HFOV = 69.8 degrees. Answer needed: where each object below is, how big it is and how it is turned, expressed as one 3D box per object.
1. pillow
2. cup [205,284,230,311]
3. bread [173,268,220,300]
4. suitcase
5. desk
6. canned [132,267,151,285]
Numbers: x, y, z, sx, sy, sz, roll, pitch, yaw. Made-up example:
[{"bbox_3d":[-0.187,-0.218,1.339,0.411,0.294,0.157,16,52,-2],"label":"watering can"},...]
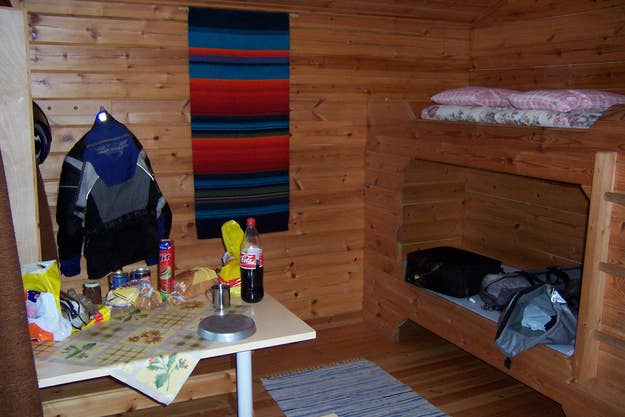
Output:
[{"bbox_3d":[1.312,-0.697,2.862,0.457,0.214,1.007,-9,12,-33],"label":"pillow"},{"bbox_3d":[-0.468,0.393,1.999,0.169,0.093,0.089,-4,10,-19],"label":"cup"},{"bbox_3d":[-0.545,0.354,2.127,0.196,0.050,0.129,-18,39,-33],"label":"bread"},{"bbox_3d":[1.077,0.419,3.252,0.493,0.166,0.476,-3,10,-25],"label":"suitcase"},{"bbox_3d":[-0.570,0.565,1.847,0.971,0.221,0.494,-7,11,-26],"label":"desk"},{"bbox_3d":[-0.811,0.313,2.125,0.106,0.075,0.088,-2,9,-23],"label":"canned"}]
